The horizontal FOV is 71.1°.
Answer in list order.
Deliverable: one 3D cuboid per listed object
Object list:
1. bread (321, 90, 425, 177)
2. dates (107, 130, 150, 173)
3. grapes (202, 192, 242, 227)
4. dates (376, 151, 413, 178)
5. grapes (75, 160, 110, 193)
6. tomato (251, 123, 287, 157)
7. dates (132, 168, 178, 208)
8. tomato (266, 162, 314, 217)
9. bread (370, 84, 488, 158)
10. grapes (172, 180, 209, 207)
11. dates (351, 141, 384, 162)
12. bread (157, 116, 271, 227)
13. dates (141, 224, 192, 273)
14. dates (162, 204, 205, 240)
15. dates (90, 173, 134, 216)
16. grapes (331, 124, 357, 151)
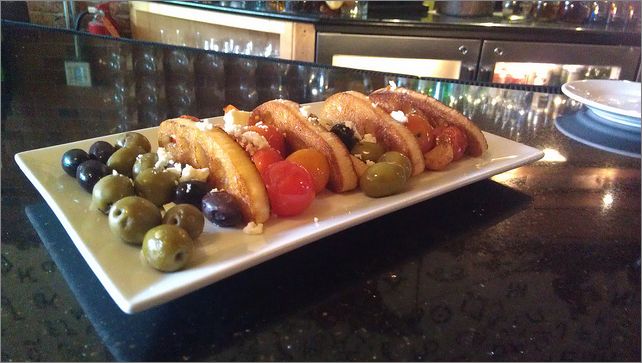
[{"bbox_3d":[0.217,-0.223,1.582,0.446,0.276,0.288,14,24,42],"label":"bread"},{"bbox_3d":[-0.599,-0.093,1.387,0.134,0.117,0.130,-1,9,-19],"label":"dates"},{"bbox_3d":[-0.293,0.088,1.277,0.110,0.063,0.080,25,44,10],"label":"grapes"},{"bbox_3d":[0.248,-0.053,1.451,0.074,0.074,0.095,37,12,37],"label":"dates"},{"bbox_3d":[-0.674,-0.007,1.340,0.110,0.087,0.081,-7,25,-8],"label":"grapes"},{"bbox_3d":[-0.176,-0.145,1.497,0.136,0.088,0.221,5,8,42],"label":"tomato"},{"bbox_3d":[-0.473,0.022,1.331,0.090,0.093,0.122,6,-2,42],"label":"dates"},{"bbox_3d":[-0.090,0.014,1.360,0.146,0.126,0.147,-10,10,-25],"label":"tomato"},{"bbox_3d":[0.421,-0.264,1.738,0.452,0.257,0.321,-13,18,-42],"label":"bread"},{"bbox_3d":[-0.375,0.031,1.279,0.063,0.055,0.093,1,-4,8],"label":"grapes"},{"bbox_3d":[0.154,-0.091,1.479,0.087,0.067,0.064,7,-5,0],"label":"dates"},{"bbox_3d":[-0.296,-0.073,1.335,0.392,0.217,0.095,38,60,21],"label":"bread"},{"bbox_3d":[-0.393,0.170,1.139,0.117,0.096,0.079,11,22,22],"label":"dates"},{"bbox_3d":[-0.364,0.110,1.183,0.102,0.060,0.162,-6,15,-35],"label":"dates"},{"bbox_3d":[-0.590,0.035,1.283,0.095,0.100,0.090,-6,-17,-28],"label":"dates"},{"bbox_3d":[0.082,-0.155,1.504,0.053,0.094,0.073,-45,45,-17],"label":"grapes"}]
